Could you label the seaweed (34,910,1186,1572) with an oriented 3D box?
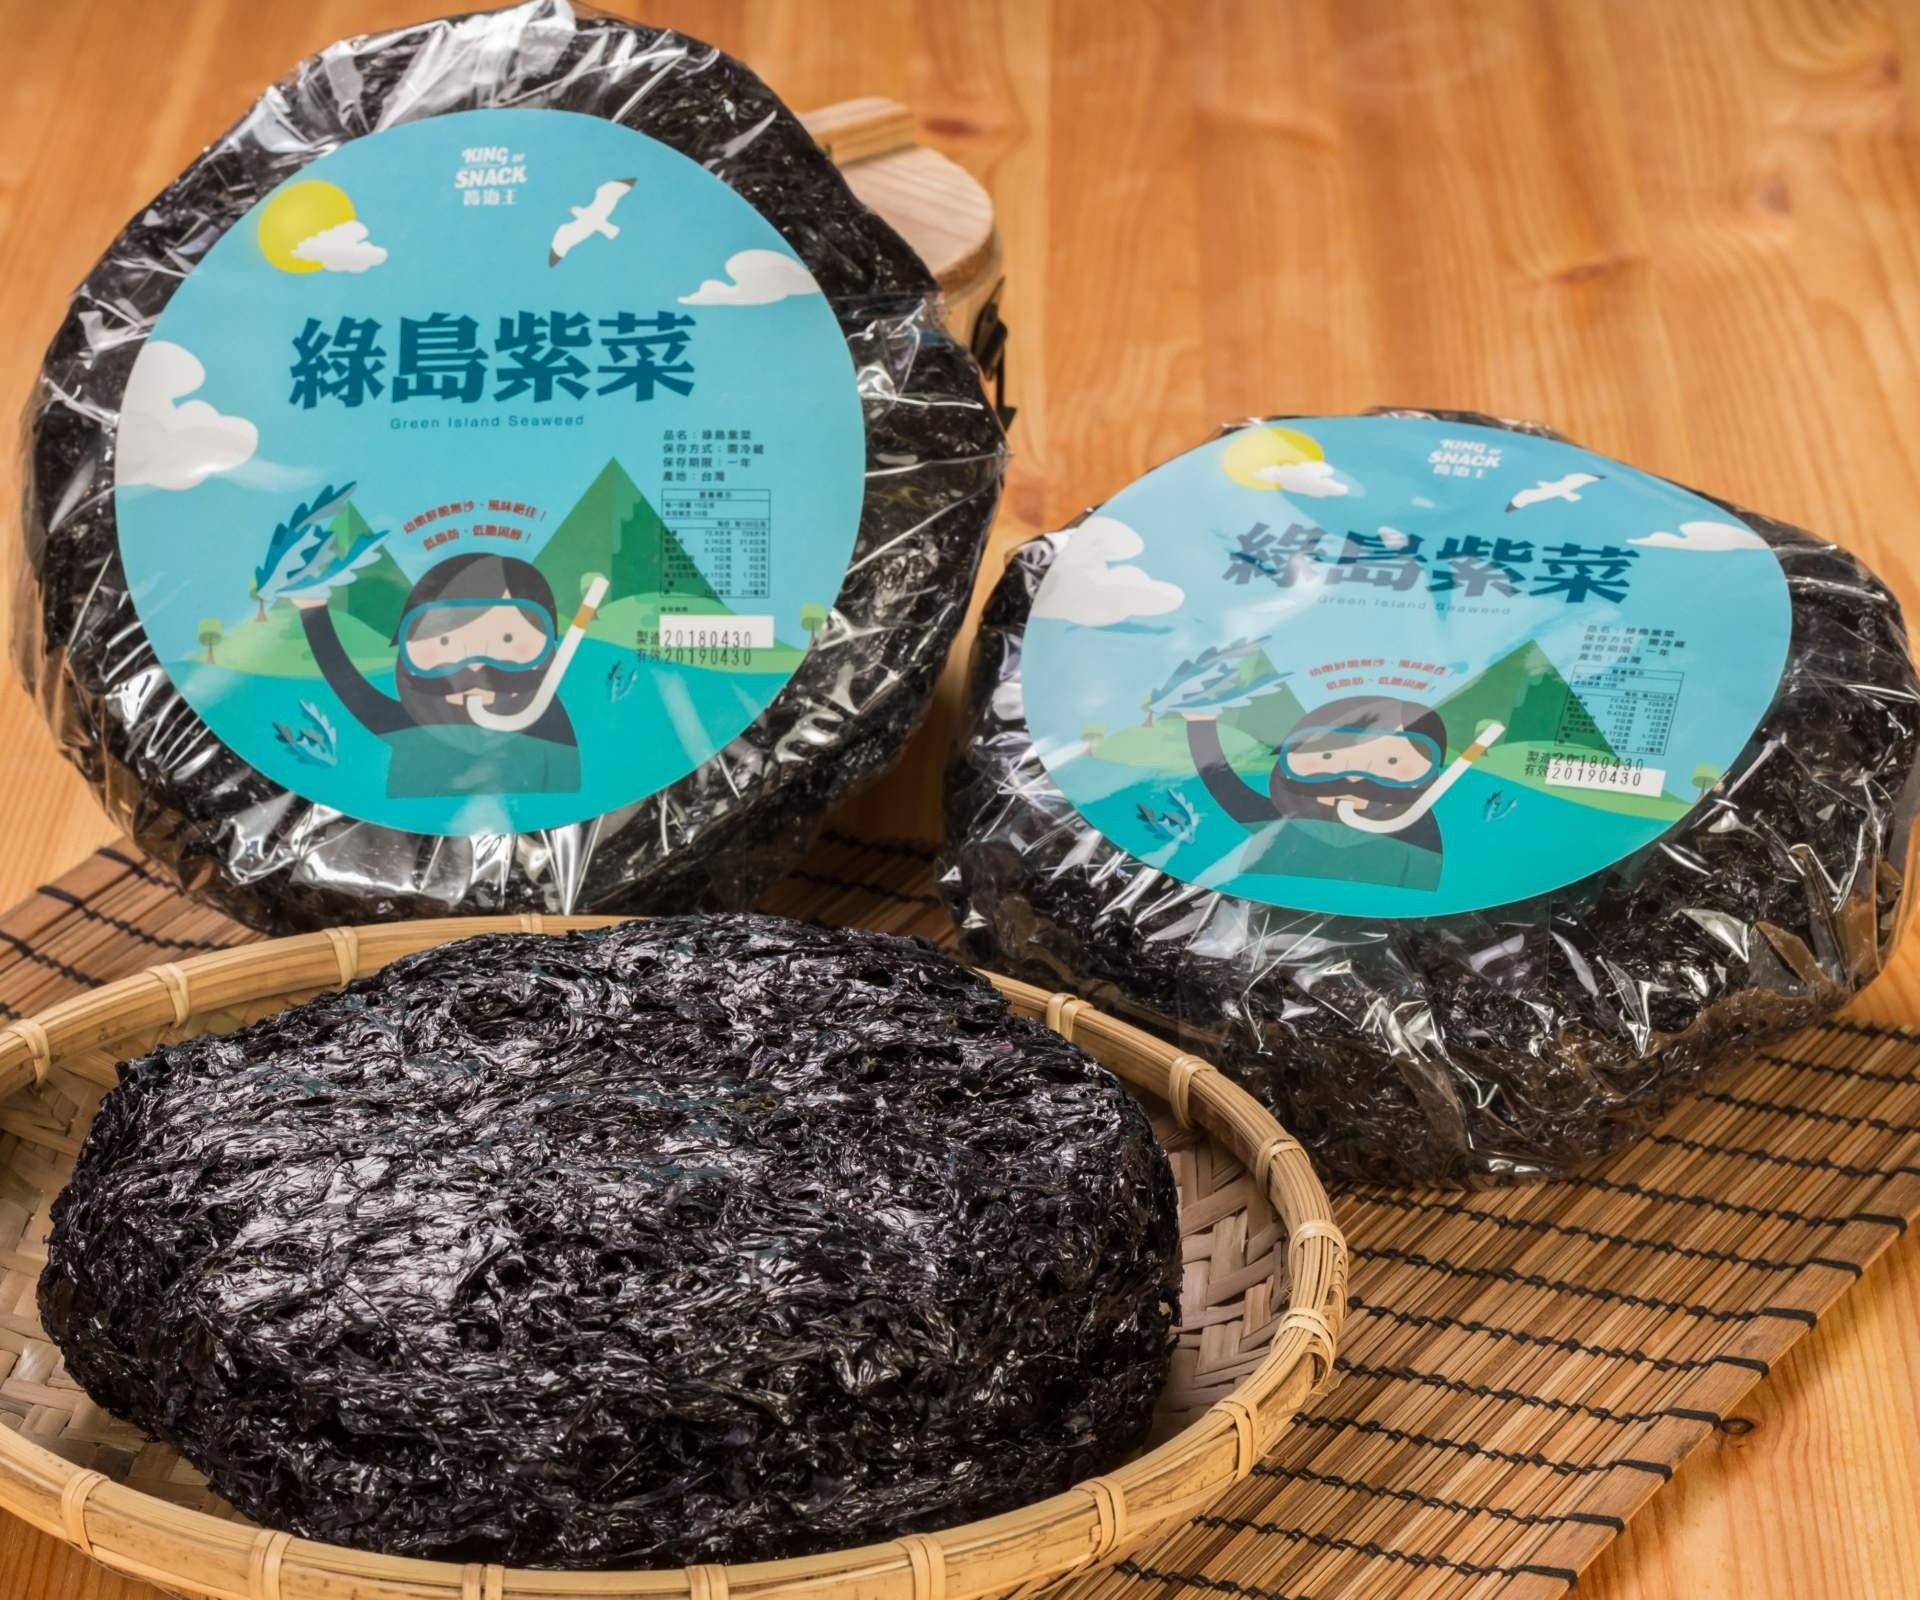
[{"bbox_3d":[-0.224,0.283,1.329,0.734,0.206,0.467,4,47,4],"label":"seaweed"}]
